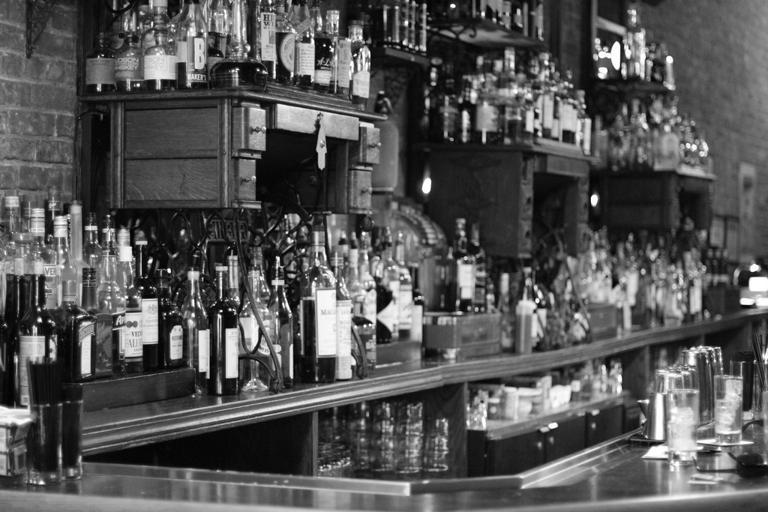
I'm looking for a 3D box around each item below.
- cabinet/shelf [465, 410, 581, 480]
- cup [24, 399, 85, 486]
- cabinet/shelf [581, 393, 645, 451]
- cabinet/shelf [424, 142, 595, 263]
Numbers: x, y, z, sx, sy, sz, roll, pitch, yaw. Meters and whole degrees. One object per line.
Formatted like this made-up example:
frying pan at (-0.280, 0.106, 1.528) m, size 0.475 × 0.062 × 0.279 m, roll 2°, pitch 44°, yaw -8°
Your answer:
cabinet/shelf at (0.800, 1.019, 7.448) m, size 0.174 × 0.335 × 1.128 m, roll 12°, pitch 14°, yaw 34°
cup at (-1.210, 0.705, 5.160) m, size 0.261 × 0.414 × 0.261 m, roll 1°, pitch -2°, yaw 0°
cabinet/shelf at (1.388, 1.001, 8.250) m, size 0.132 × 0.257 × 0.790 m, roll 10°, pitch 13°, yaw 29°
cabinet/shelf at (0.864, -0.325, 8.290) m, size 0.620 × 0.629 × 1.233 m, roll 2°, pitch 0°, yaw 29°
